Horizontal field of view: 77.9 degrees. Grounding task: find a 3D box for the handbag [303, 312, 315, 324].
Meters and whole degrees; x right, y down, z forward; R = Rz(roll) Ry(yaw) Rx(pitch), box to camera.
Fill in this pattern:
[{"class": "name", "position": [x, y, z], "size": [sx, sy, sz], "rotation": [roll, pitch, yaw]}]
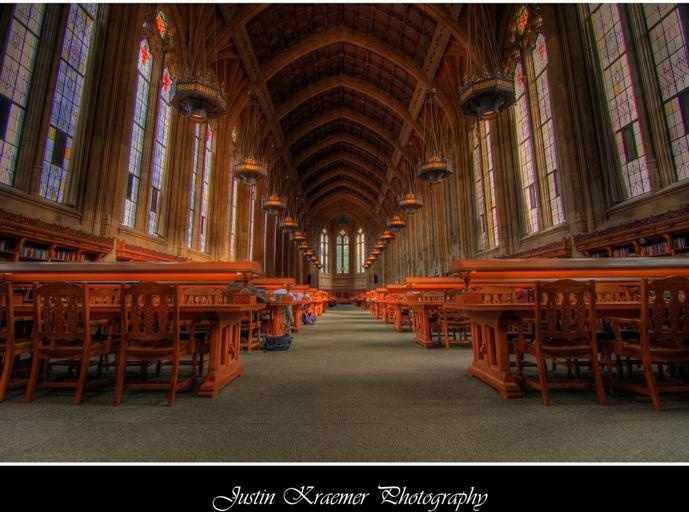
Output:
[{"class": "handbag", "position": [-1.222, 2.155, 14.699], "size": [0.378, 0.188, 0.486], "rotation": [2, -5, 0]}]
